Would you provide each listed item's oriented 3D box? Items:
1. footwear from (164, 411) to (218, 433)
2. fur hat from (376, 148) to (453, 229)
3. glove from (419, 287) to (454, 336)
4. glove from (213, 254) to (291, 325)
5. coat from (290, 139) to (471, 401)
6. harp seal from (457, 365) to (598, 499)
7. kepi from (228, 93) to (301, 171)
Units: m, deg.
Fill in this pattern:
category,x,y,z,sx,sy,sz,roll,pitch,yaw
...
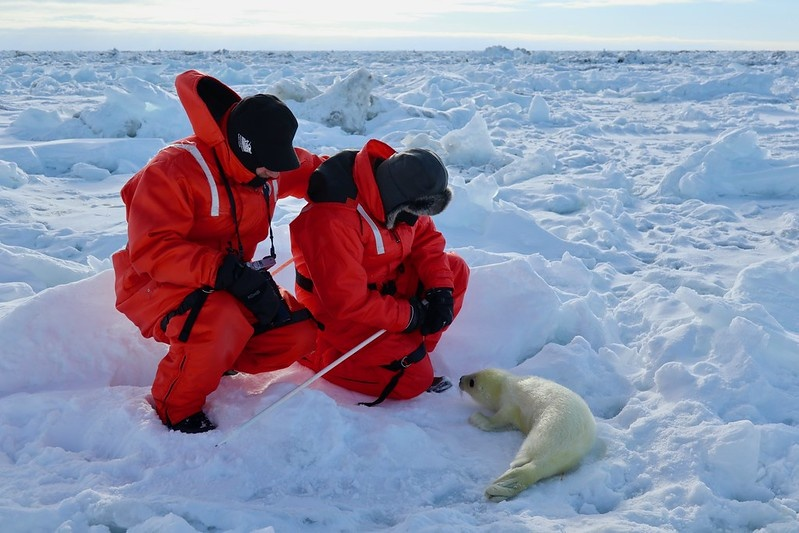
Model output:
category,x,y,z,sx,sy,sz,roll,pitch,yaw
footwear,-1.143,0.878,3.651,0.178,0.046,0.210,28,29,36
fur hat,0.053,-0.487,3.906,0.399,0.419,0.365,-13,25,-42
glove,0.230,0.279,3.919,0.240,0.258,0.118,-1,-5,5
glove,-0.887,0.088,3.812,0.436,0.367,0.367,-12,23,-40
coat,-0.111,0.064,4.155,1.231,1.568,1.054,7,28,-1
harp seal,0.744,0.918,3.728,0.596,0.412,0.757,6,24,-10
kepi,-0.735,-0.761,3.676,0.473,0.251,0.341,42,48,4
